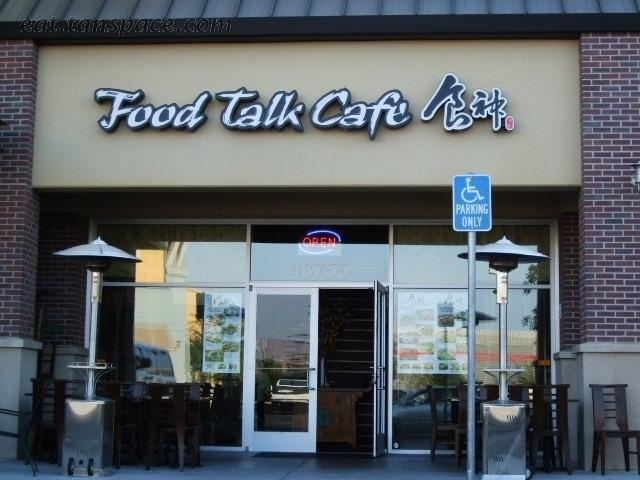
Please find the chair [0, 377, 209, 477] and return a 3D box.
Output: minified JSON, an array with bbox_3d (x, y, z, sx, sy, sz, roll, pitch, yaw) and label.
[{"bbox_3d":[-3.083,2.887,13.446,3.540,1.357,2.603,7,-13,-30],"label":"chair"}]
